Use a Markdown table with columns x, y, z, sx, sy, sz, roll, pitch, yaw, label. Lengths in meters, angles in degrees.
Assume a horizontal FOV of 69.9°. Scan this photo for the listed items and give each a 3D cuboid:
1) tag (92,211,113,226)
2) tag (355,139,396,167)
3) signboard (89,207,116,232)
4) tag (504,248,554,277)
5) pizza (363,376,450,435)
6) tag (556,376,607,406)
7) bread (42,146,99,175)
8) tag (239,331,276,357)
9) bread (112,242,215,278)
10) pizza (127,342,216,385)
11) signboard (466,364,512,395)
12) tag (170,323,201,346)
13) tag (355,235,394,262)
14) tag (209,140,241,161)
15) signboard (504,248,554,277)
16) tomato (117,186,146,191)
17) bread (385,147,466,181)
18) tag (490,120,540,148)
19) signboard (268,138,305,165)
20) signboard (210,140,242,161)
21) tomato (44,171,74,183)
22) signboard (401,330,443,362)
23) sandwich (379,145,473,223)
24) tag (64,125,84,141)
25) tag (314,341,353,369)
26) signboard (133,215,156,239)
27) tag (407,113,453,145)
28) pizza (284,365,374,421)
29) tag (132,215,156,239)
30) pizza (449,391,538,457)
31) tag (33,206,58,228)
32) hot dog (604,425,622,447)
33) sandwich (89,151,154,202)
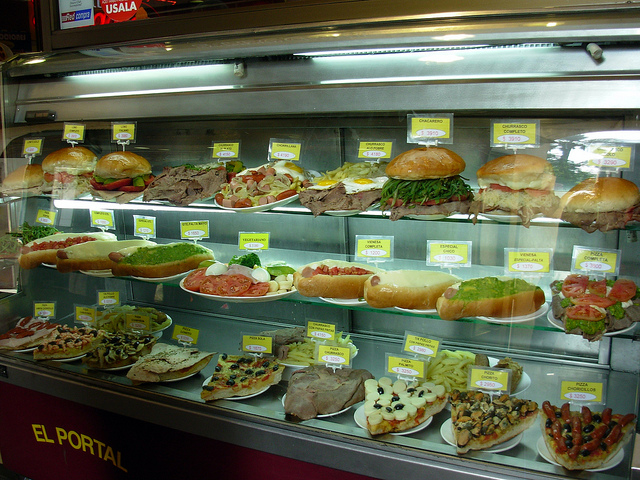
| x | y | z | sx | sy | sz | roll | pitch | yaw | label |
| --- | --- | --- | --- | --- | --- | --- | --- | --- | --- |
| -1.268 | -0.132 | 2.663 | 0.132 | 0.059 | 0.014 | 5 | 22 | 17 | tag |
| 0.284 | -0.436 | 2.278 | 0.256 | 0.113 | 0.015 | 3 | 6 | 29 | tag |
| -1.267 | -0.127 | 2.663 | 0.215 | 0.096 | 0.023 | 5 | 19 | 19 | signboard |
| 0.919 | 0.094 | 1.988 | 0.200 | 0.087 | 0.017 | 2 | 14 | 13 | tag |
| 0.349 | 0.758 | 2.162 | 0.339 | 0.084 | 0.388 | -33 | 22 | -25 | pizza |
| 1.153 | 0.663 | 2.028 | 0.256 | 0.110 | 0.015 | 6 | -16 | -7 | tag |
| -1.456 | -0.463 | 2.604 | 0.267 | 0.063 | 0.224 | -4 | 17 | -5 | bread |
| -0.348 | 0.578 | 2.542 | 0.183 | 0.072 | 0.020 | 2 | -11 | 14 | tag |
| -0.862 | 0.091 | 2.528 | 0.499 | 0.075 | 0.231 | -6 | 15 | -19 | bread |
| -0.865 | 0.676 | 2.540 | 0.403 | 0.079 | 0.346 | 9 | 24 | 33 | pizza |
| 0.779 | 0.635 | 2.109 | 0.249 | 0.114 | 0.017 | 13 | -26 | -16 | signboard |
| -0.815 | 0.570 | 2.767 | 0.175 | 0.082 | 0.015 | 8 | -29 | 22 | tag |
| 0.291 | 0.037 | 2.428 | 0.200 | 0.129 | 0.199 | 0 | 5 | 6 | tag |
| -0.528 | -0.509 | 2.567 | 0.193 | 0.084 | 0.007 | 0 | 7 | 15 | tag |
| 0.907 | 0.093 | 2.002 | 0.272 | 0.117 | 0.022 | 2 | -8 | -20 | signboard |
| -1.076 | -0.294 | 2.593 | 0.157 | 0.026 | 0.026 | 1 | 5 | 16 | tomato |
| 0.483 | -0.353 | 2.097 | 0.354 | 0.158 | 0.118 | 0 | 5 | 4 | bread |
| 0.865 | -0.468 | 2.005 | 0.208 | 0.082 | 0.008 | 4 | 15 | 24 | tag |
| -0.176 | -0.481 | 2.466 | 0.238 | 0.104 | 0.020 | 4 | 2 | 16 | signboard |
| -0.526 | -0.508 | 2.566 | 0.197 | 0.086 | 0.007 | 1 | 7 | 14 | signboard |
| -1.519 | -0.364 | 2.655 | 0.125 | 0.023 | 0.098 | 0 | 0 | 6 | tomato |
| 0.502 | 0.522 | 2.278 | 0.241 | 0.121 | 0.020 | 19 | -33 | -22 | signboard |
| 0.514 | -0.302 | 2.209 | 0.566 | 0.220 | 0.449 | -17 | 24 | -18 | sandwich |
| -1.439 | -0.632 | 2.670 | 0.138 | 0.073 | 0.014 | 4 | 17 | 4 | tag |
| 0.066 | 0.597 | 2.385 | 0.226 | 0.099 | 0.027 | 5 | 3 | 18 | tag |
| -1.009 | -0.085 | 2.632 | 0.198 | 0.121 | 0.016 | 6 | 12 | 6 | signboard |
| 0.520 | -0.522 | 2.151 | 0.014 | 0.145 | 0.275 | -24 | 27 | -35 | tag |
| 0.019 | 0.748 | 2.248 | 0.317 | 0.063 | 0.252 | -4 | 6 | -27 | pizza |
| -1.010 | -0.086 | 2.631 | 0.199 | 0.115 | 0.017 | 7 | 14 | 9 | tag |
| 0.762 | 0.796 | 2.005 | 0.358 | 0.189 | 0.278 | 1 | 5 | 14 | pizza |
| -1.632 | -0.143 | 2.709 | 0.182 | 0.125 | 0.019 | 7 | 5 | -6 | tag |
| 1.195 | 0.791 | 1.859 | 0.050 | 0.092 | 0.028 | 42 | -15 | 28 | hot dog |
| -1.121 | -0.387 | 2.718 | 0.455 | 0.205 | 0.338 | -1 | 16 | -13 | sandwich |
